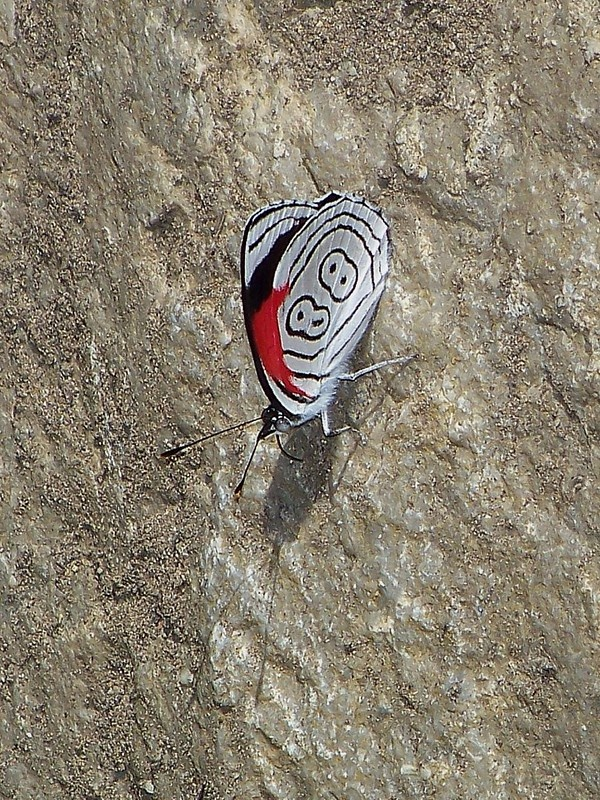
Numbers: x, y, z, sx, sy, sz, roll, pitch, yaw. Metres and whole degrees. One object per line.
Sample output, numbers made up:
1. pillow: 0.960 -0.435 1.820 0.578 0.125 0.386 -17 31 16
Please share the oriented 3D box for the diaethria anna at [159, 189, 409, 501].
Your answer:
1. diaethria anna: -0.114 -0.580 8.980 0.562 1.340 1.857 11 100 17
